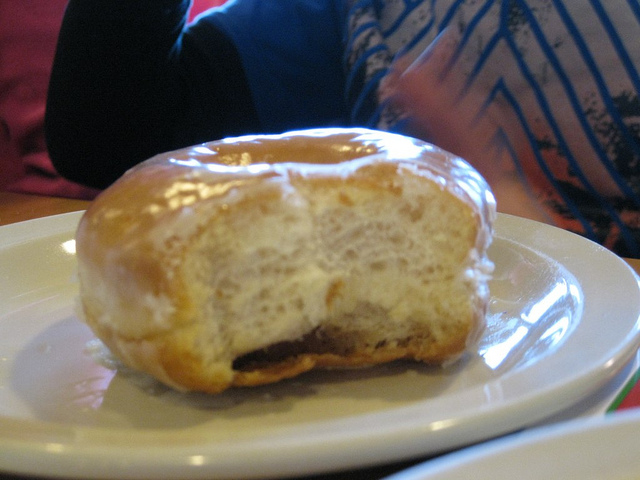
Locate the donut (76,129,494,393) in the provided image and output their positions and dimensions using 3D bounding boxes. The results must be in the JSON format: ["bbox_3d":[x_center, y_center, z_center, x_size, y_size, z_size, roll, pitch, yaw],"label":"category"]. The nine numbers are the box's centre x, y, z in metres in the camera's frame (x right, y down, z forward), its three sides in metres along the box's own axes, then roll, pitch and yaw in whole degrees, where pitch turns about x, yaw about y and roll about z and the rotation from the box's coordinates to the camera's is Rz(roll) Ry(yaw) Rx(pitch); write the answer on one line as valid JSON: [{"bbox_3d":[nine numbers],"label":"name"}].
[{"bbox_3d":[-0.047,0.030,0.741,0.350,0.199,0.357,-1,1,44],"label":"donut"}]
